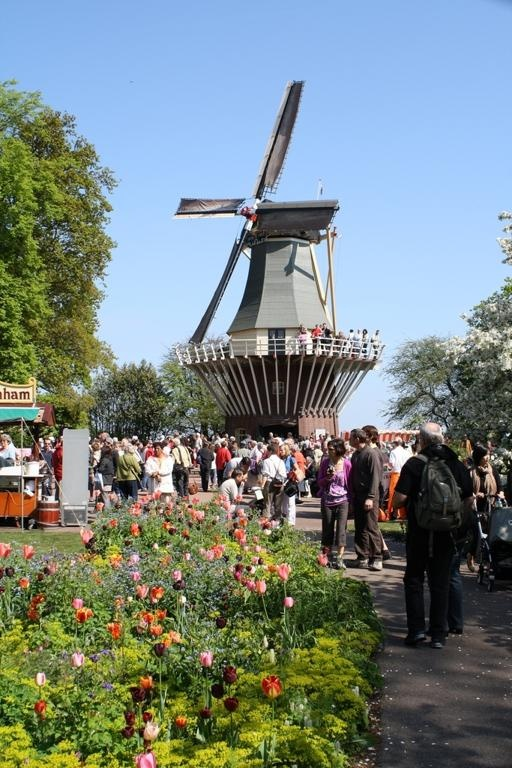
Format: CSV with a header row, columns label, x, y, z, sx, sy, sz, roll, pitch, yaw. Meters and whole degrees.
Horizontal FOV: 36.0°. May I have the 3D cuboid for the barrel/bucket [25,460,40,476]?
label,x,y,z,sx,sy,sz,roll,pitch,yaw
barrel/bucket,-4.366,1.663,15.303,0.337,0.245,0.255,-1,-2,13

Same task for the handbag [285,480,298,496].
label,x,y,z,sx,sy,sz,roll,pitch,yaw
handbag,0.538,1.632,12.312,0.259,0.211,0.415,20,-1,2

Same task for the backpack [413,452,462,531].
label,x,y,z,sx,sy,sz,roll,pitch,yaw
backpack,1.431,0.854,6.199,0.426,0.543,0.351,2,1,-24

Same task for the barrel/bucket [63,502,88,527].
label,x,y,z,sx,sy,sz,roll,pitch,yaw
barrel/bucket,-3.475,2.522,15.149,0.666,0.545,0.460,1,-3,-13

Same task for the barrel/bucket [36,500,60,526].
label,x,y,z,sx,sy,sz,roll,pitch,yaw
barrel/bucket,-3.942,2.435,14.825,0.513,0.440,0.481,-1,-3,0
